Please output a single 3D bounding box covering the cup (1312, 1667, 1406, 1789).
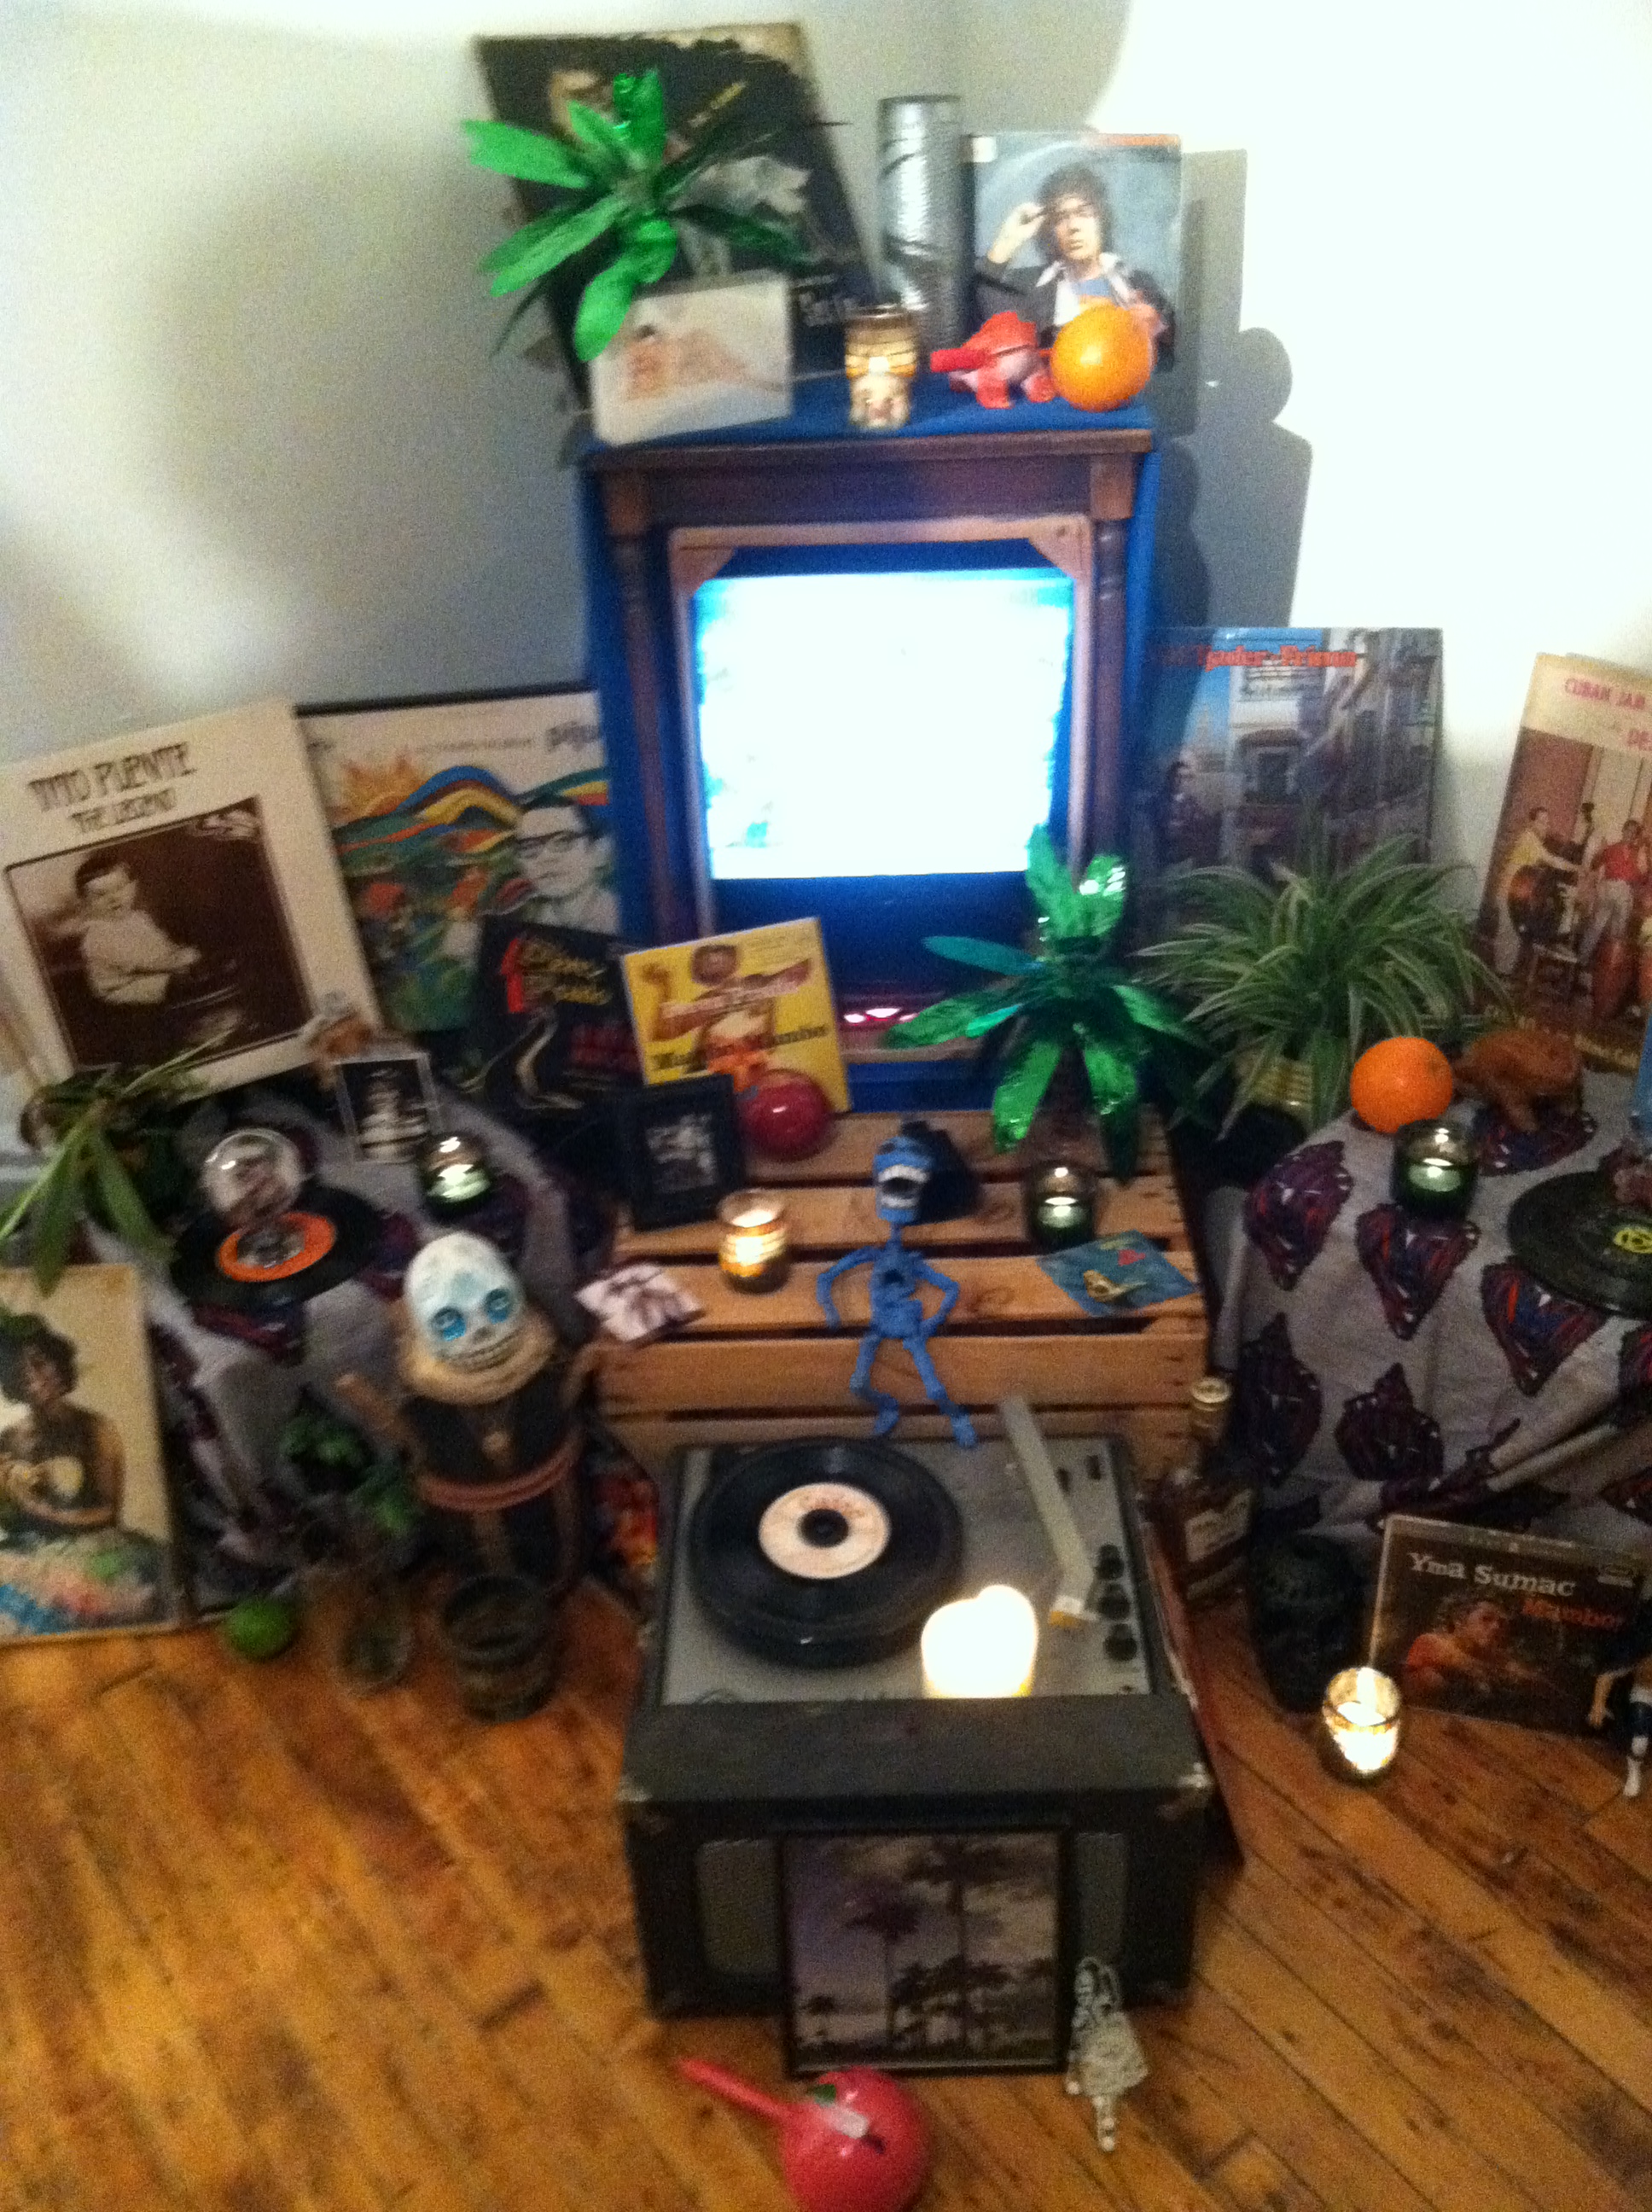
[{"bbox_3d":[0.575,0.671,1.921,0.118,0.111,0.113,-1,36,1],"label":"cup"}]

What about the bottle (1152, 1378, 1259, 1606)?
[{"bbox_3d":[0.475,0.433,2.150,0.119,0.313,0.291,6,34,16],"label":"bottle"}]

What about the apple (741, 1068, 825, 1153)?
[{"bbox_3d":[-0.064,0.005,2.394,0.120,0.105,0.103,-5,3,-1],"label":"apple"}]

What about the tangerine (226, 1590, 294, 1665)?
[{"bbox_3d":[-0.670,0.632,2.086,0.074,0.091,0.068,10,73,7],"label":"tangerine"}]

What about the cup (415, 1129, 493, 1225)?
[{"bbox_3d":[-0.491,0.096,2.271,0.095,0.089,0.088,-3,33,2],"label":"cup"}]

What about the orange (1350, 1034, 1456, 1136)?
[{"bbox_3d":[0.730,-0.021,2.161,0.096,0.122,0.128,-23,37,-25],"label":"orange"}]

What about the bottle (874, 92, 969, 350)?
[{"bbox_3d":[0.129,-1.132,2.220,0.115,0.285,0.050,-4,35,2],"label":"bottle"}]

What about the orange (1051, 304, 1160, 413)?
[{"bbox_3d":[0.343,-0.921,2.127,0.108,0.112,0.096,-14,34,-13],"label":"orange"}]

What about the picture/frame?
[{"bbox_3d":[0.087,0.756,1.573,0.356,0.302,0.032,-3,35,2],"label":"picture/frame"}]

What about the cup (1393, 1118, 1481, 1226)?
[{"bbox_3d":[0.707,0.073,2.062,0.108,0.109,0.109,-3,33,2],"label":"cup"}]

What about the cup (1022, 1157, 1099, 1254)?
[{"bbox_3d":[0.292,0.124,2.262,0.112,0.114,0.105,-2,44,2],"label":"cup"}]

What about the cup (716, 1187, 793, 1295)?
[{"bbox_3d":[-0.087,0.165,2.208,0.103,0.107,0.101,-3,33,2],"label":"cup"}]
